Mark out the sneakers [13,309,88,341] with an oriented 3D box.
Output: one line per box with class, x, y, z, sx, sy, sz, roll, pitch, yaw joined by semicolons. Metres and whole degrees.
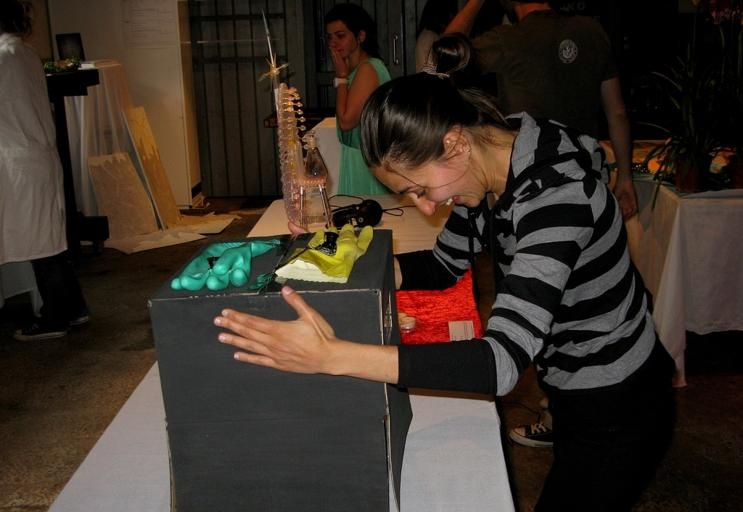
sneakers;-2.033;0.428;3.803;0.463;0.186;0.158;1;11;-13
